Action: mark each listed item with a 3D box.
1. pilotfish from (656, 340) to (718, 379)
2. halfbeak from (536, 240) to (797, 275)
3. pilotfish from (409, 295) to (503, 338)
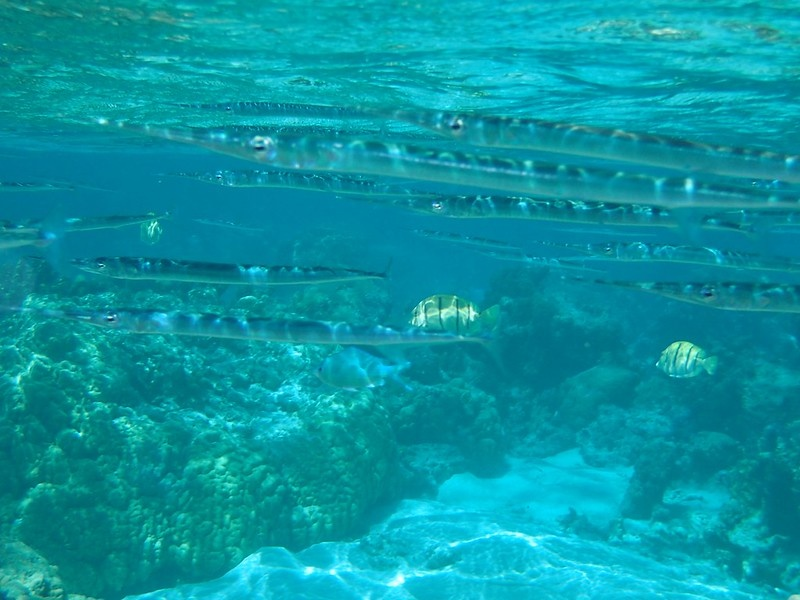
[{"bbox_3d":[5.956,1.217,16.806,1.282,0.877,1.467,8,6,40],"label":"pilotfish"},{"bbox_3d":[5.309,-0.836,14.669,4.011,0.514,0.966,4,16,15],"label":"halfbeak"},{"bbox_3d":[0.955,0.314,13.859,1.545,0.657,1.009,2,7,14],"label":"pilotfish"}]
